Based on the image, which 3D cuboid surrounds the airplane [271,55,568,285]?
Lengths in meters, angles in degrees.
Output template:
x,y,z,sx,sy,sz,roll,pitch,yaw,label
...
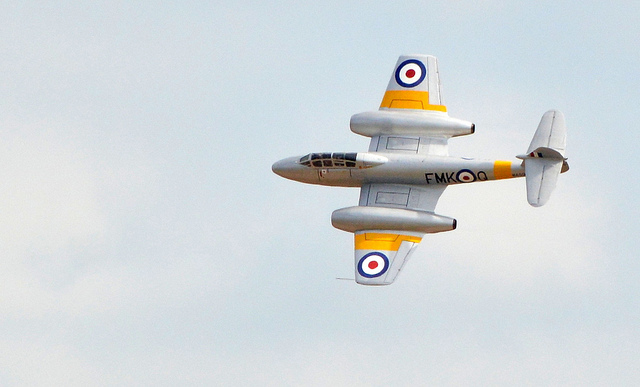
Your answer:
x,y,z,sx,sy,sz,roll,pitch,yaw,label
5.249,0.518,44.562,9.582,8.438,2.290,-2,-30,20,airplane
